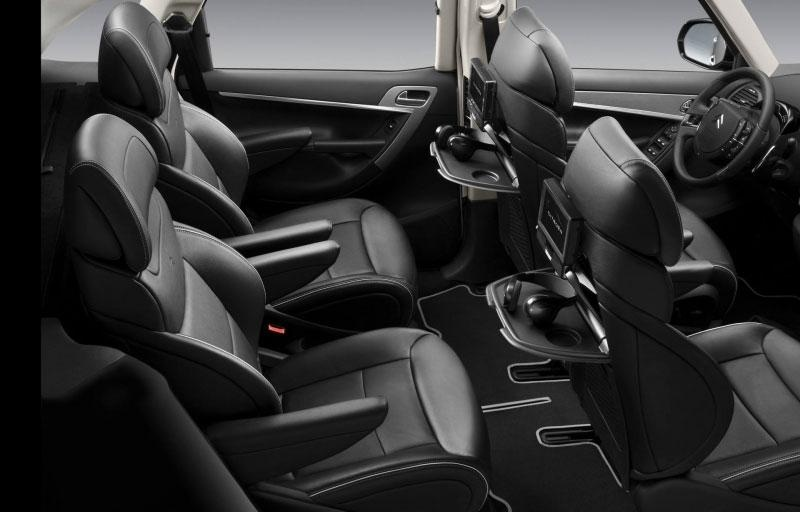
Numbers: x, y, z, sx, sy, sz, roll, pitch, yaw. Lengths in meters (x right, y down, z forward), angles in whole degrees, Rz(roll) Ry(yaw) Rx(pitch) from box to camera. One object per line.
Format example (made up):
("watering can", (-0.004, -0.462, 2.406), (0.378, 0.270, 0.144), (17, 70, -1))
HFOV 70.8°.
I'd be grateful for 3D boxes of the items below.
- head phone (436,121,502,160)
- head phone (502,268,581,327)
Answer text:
("head phone", (0.282, -0.472, 2.302), (0.271, 0.092, 0.211), (-7, 28, -29))
("head phone", (0.401, 0.108, 1.560), (0.211, 0.104, 0.159), (-25, 35, -29))
